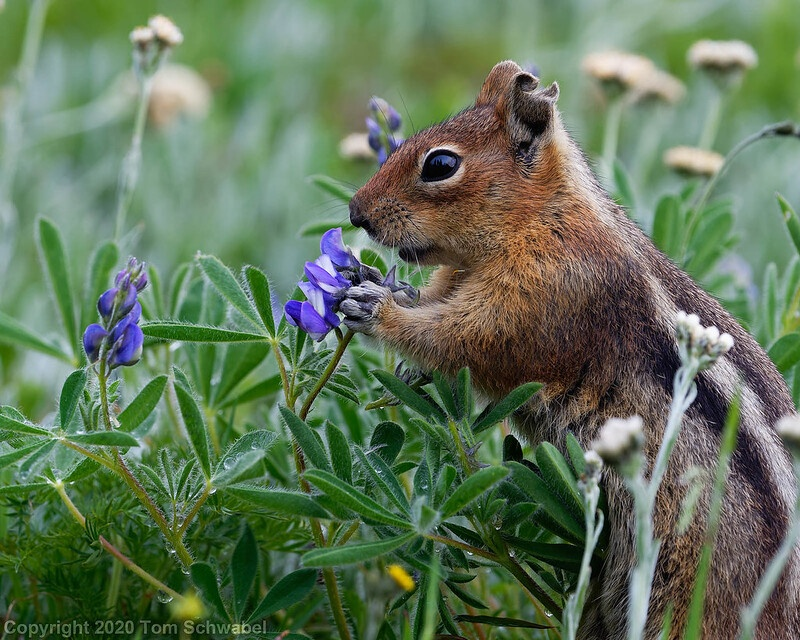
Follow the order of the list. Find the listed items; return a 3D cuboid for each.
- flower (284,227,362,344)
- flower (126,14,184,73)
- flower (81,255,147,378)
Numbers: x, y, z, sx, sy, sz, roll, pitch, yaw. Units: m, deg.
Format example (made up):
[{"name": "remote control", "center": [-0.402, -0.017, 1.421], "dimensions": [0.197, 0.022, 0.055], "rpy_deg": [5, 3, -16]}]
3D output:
[{"name": "flower", "center": [-0.193, -0.157, 2.714], "dimensions": [0.226, 0.128, 0.122], "rpy_deg": [-26, -20, -5]}, {"name": "flower", "center": [-0.805, -0.851, 2.984], "dimensions": [0.132, 0.201, 0.160], "rpy_deg": [3, -27, -8]}, {"name": "flower", "center": [-0.769, 0.000, 2.477], "dimensions": [0.109, 0.429, 0.138], "rpy_deg": [22, 22, 24]}]
